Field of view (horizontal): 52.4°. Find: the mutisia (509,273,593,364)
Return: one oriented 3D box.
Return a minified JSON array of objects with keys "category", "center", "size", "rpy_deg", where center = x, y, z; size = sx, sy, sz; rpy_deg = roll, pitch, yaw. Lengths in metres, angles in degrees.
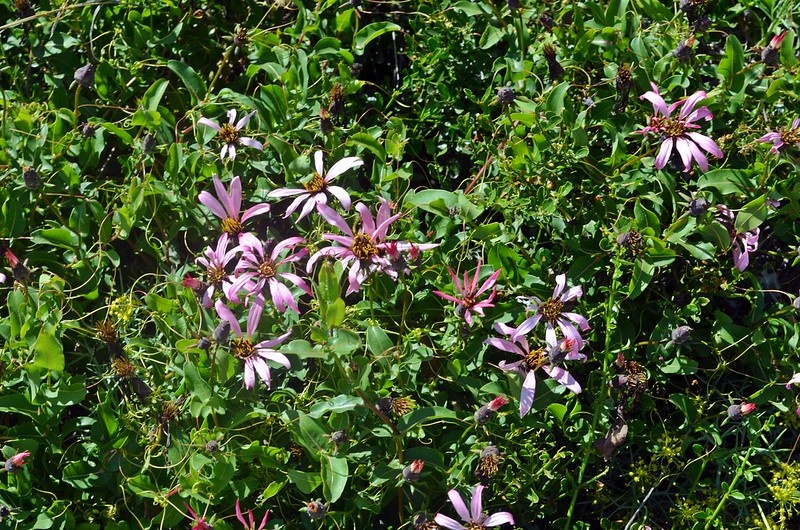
[{"category":"mutisia","center":[0.457,0.184,2.483],"size":[0.220,0.117,0.236],"rpy_deg":[-24,61,-20]}]

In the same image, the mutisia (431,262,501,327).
[{"category":"mutisia","center":[0.227,0.066,2.469],"size":[0.162,0.105,0.168],"rpy_deg":[13,10,-14]}]

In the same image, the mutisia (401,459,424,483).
[{"category":"mutisia","center":[0.034,0.601,2.384],"size":[0.033,0.077,0.033],"rpy_deg":[10,48,-20]}]

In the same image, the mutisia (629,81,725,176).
[{"category":"mutisia","center":[0.879,-0.445,2.552],"size":[0.227,0.078,0.257],"rpy_deg":[32,70,-30]}]

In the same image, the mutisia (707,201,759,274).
[{"category":"mutisia","center":[1.092,-0.091,2.601],"size":[0.058,0.204,0.198],"rpy_deg":[-14,28,15]}]

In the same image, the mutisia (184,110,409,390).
[{"category":"mutisia","center":[-0.449,0.034,2.690],"size":[0.474,0.216,0.901],"rpy_deg":[10,81,4]}]
